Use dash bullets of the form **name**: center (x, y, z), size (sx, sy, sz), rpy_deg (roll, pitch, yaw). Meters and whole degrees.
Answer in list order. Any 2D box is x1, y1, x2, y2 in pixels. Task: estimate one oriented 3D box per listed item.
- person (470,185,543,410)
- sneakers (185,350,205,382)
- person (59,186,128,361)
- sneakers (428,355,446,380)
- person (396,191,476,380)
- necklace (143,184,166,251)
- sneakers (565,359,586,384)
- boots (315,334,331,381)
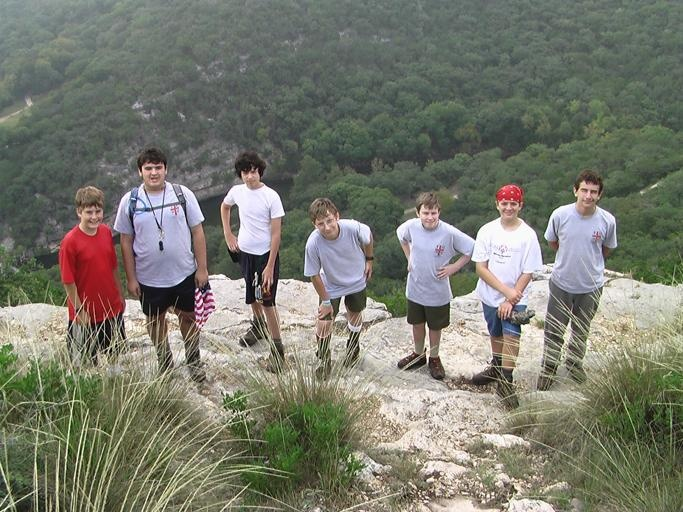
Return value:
- **person**: center (1.601, 0.360, 5.945), size (0.615, 2.000, 0.993), rpy_deg (-3, 13, -1)
- **sneakers**: center (-1.283, 0.963, 5.377), size (0.108, 0.217, 0.287), rpy_deg (-7, -4, -2)
- **person**: center (-2.163, 0.154, 5.295), size (0.508, 1.426, 1.088), rpy_deg (-8, 15, -22)
- **sneakers**: center (0.994, 1.168, 6.417), size (0.096, 0.119, 0.283), rpy_deg (-5, 12, -2)
- **person**: center (0.938, 0.296, 6.334), size (0.765, 1.937, 0.581), rpy_deg (-1, 13, 6)
- **necklace**: center (-1.668, -0.326, 5.587), size (0.181, 0.538, 0.150), rpy_deg (-7, 14, -18)
- **sneakers**: center (1.935, 0.954, 5.087), size (0.161, 0.097, 0.157), rpy_deg (48, 16, 31)
- **boots**: center (-0.169, 0.965, 5.829), size (0.116, 0.316, 0.281), rpy_deg (-1, -15, 4)
